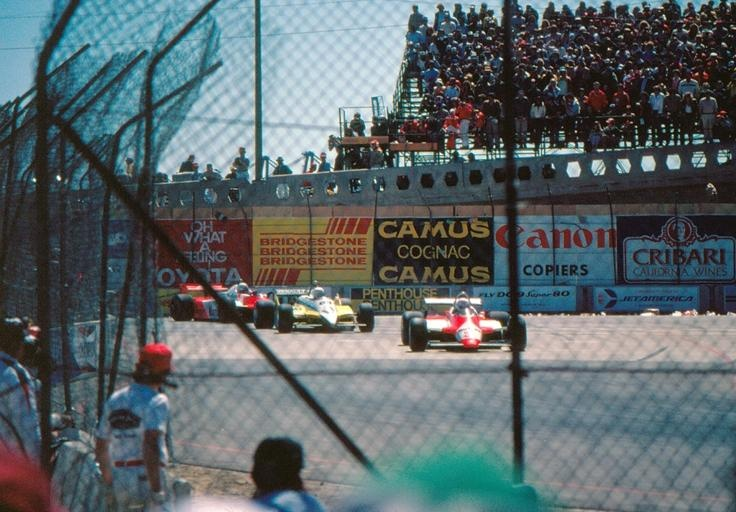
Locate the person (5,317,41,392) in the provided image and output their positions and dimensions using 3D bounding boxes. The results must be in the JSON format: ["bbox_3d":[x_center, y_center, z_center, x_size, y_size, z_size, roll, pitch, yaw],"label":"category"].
[{"bbox_3d":[-3.645,1.007,13.414,0.405,1.044,0.450,-1,5,-14],"label":"person"}]

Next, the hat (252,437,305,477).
[{"bbox_3d":[-0.850,1.873,11.911,0.600,0.362,0.421,5,-1,-32],"label":"hat"}]

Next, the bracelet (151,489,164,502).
[{"bbox_3d":[-2.059,2.372,12.269,0.111,0.092,0.114,0,2,-27],"label":"bracelet"}]

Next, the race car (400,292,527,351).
[{"bbox_3d":[1.559,1.091,20.275,1.691,0.938,2.984,-1,3,0],"label":"race car"}]
